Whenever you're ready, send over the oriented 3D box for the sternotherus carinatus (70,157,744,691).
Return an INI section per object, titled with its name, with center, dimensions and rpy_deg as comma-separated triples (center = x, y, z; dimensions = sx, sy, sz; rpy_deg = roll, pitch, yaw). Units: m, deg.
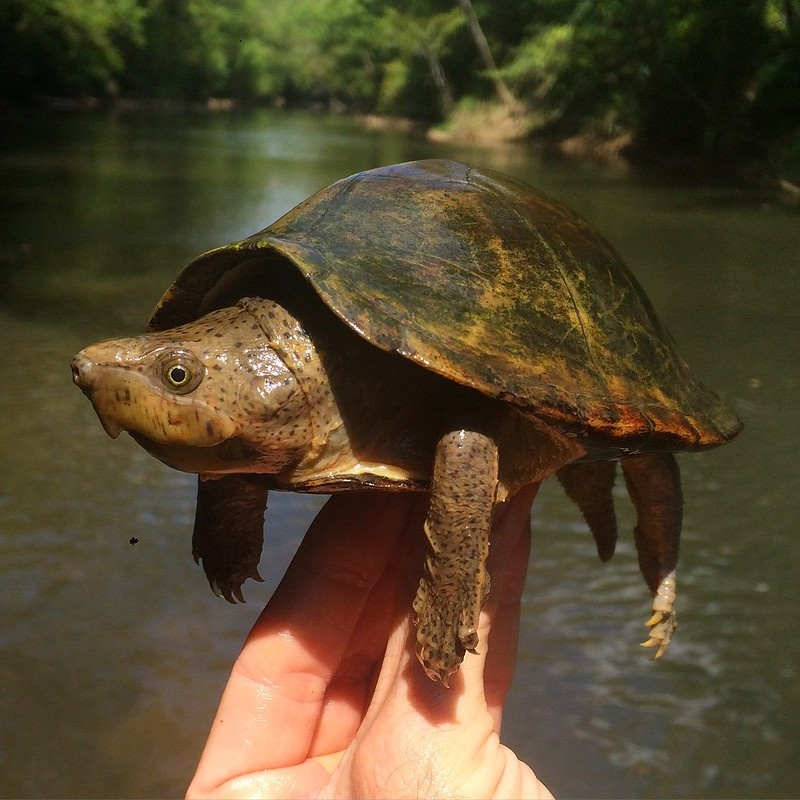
[sternotherus carinatus]
center = 0.055, 0.009, 1.670
dimensions = 0.795, 0.714, 0.833
rpy_deg = 33, 50, 25
